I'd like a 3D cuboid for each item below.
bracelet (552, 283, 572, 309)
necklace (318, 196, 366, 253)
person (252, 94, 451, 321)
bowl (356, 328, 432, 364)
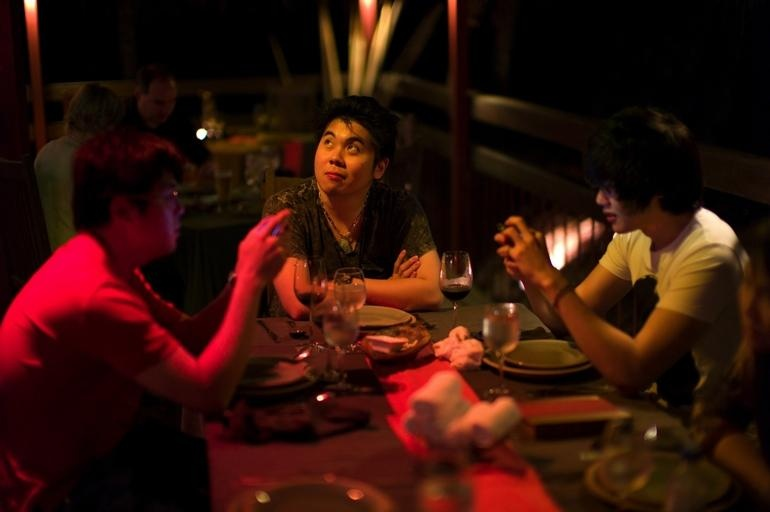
[{"bbox_3d":[0.541,0.121,1.933,0.016,0.063,0.064,31,3,-4],"label":"bracelet"},{"bbox_3d":[-0.188,-0.138,2.833,0.144,0.250,0.076,-6,-6,-12],"label":"necklace"},{"bbox_3d":[-0.126,-0.226,3.019,1.015,1.336,0.918,1,-10,-5],"label":"person"},{"bbox_3d":[0.035,0.296,2.078,0.132,0.042,0.135,-12,13,3],"label":"bowl"}]
